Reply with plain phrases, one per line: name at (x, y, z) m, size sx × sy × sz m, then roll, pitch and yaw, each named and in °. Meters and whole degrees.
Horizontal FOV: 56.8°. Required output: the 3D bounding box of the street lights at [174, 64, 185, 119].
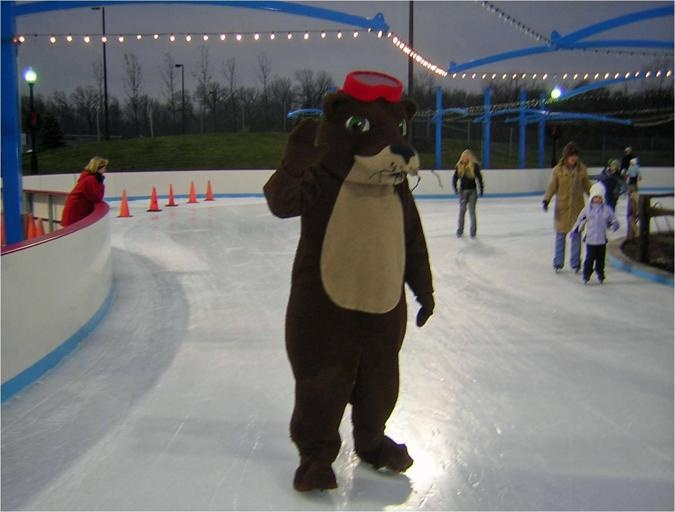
street lights at (-8.092, -8.371, 32.302) m, size 0.438 × 2.904 × 0.929 m, roll -3°, pitch 13°, yaw -15°

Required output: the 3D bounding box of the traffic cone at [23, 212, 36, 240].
traffic cone at (-5.243, -0.524, 10.625) m, size 0.157 × 0.419 × 0.522 m, roll -6°, pitch 16°, yaw -24°

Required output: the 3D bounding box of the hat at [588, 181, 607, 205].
hat at (3.483, -0.844, 8.354) m, size 0.192 × 0.224 × 0.457 m, roll 6°, pitch 16°, yaw 21°

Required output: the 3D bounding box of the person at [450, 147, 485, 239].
person at (2.623, -1.275, 12.571) m, size 0.577 × 1.738 × 2.159 m, roll 3°, pitch 15°, yaw 12°

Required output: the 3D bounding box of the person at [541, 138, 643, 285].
person at (3.397, -0.627, 8.845) m, size 0.900 × 1.852 × 1.373 m, roll 5°, pitch 14°, yaw 19°

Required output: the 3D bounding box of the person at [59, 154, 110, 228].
person at (-3.552, -0.875, 8.783) m, size 0.669 × 0.958 × 1.479 m, roll -6°, pitch 16°, yaw -24°
